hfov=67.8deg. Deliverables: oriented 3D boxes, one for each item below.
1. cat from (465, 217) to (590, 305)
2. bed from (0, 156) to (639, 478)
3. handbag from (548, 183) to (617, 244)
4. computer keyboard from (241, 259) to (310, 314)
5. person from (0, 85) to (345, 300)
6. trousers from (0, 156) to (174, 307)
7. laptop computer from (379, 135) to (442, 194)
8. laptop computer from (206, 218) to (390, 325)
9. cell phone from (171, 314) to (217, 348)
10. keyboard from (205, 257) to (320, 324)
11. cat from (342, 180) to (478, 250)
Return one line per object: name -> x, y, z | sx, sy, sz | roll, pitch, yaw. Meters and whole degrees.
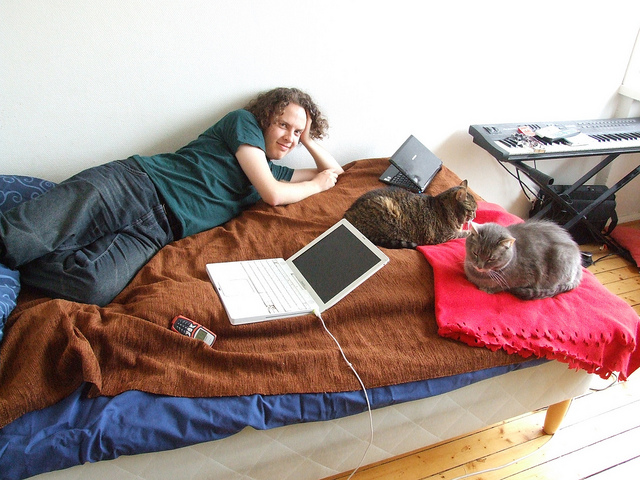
cat -> 0.884, 0.094, 2.002 | 0.438, 0.229, 0.310 | -25, 54, -13
bed -> -0.077, 0.603, 1.970 | 1.898, 0.572, 1.264 | -20, 53, -17
handbag -> 1.606, -0.166, 2.915 | 0.312, 0.296, 0.175 | -7, 35, -12
computer keyboard -> -0.188, 0.193, 1.974 | 0.172, 0.014, 0.327 | -10, 41, -27
person -> -0.679, -0.239, 2.327 | 1.737, 0.700, 0.725 | -14, 47, -33
trousers -> -0.964, -0.013, 2.113 | 0.467, 0.275, 0.695 | 45, 36, 0
laptop computer -> 0.501, -0.422, 2.695 | 0.242, 0.168, 0.346 | 31, 53, 8
laptop computer -> -0.076, 0.152, 1.978 | 0.587, 0.233, 0.424 | -2, 37, -33
cell phone -> -0.480, 0.351, 1.823 | 0.175, 0.047, 0.089 | 30, 56, -10
keyboard -> -0.246, 0.210, 1.938 | 0.280, 0.045, 0.313 | -4, 37, -24
cat -> 0.426, -0.105, 2.239 | 0.527, 0.221, 0.324 | -7, 44, -3
